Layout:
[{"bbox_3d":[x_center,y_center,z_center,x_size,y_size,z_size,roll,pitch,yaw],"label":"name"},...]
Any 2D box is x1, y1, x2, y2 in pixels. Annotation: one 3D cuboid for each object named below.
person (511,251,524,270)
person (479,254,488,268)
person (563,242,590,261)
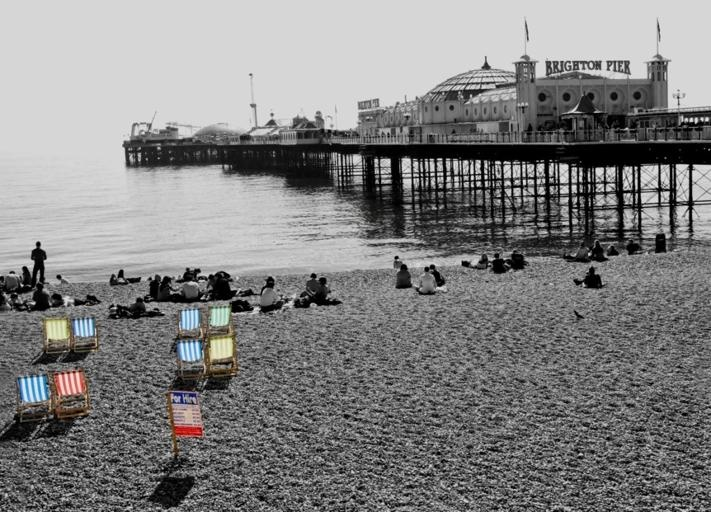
[{"bbox_3d":[5.288,0.158,31.351,0.478,0.437,0.992,-2,9,9],"label":"person"},{"bbox_3d":[4.205,0.188,31.558,0.308,0.396,0.754,-1,9,14],"label":"person"},{"bbox_3d":[7.468,-0.002,32.682,0.596,0.664,1.201,2,12,-6],"label":"person"}]
